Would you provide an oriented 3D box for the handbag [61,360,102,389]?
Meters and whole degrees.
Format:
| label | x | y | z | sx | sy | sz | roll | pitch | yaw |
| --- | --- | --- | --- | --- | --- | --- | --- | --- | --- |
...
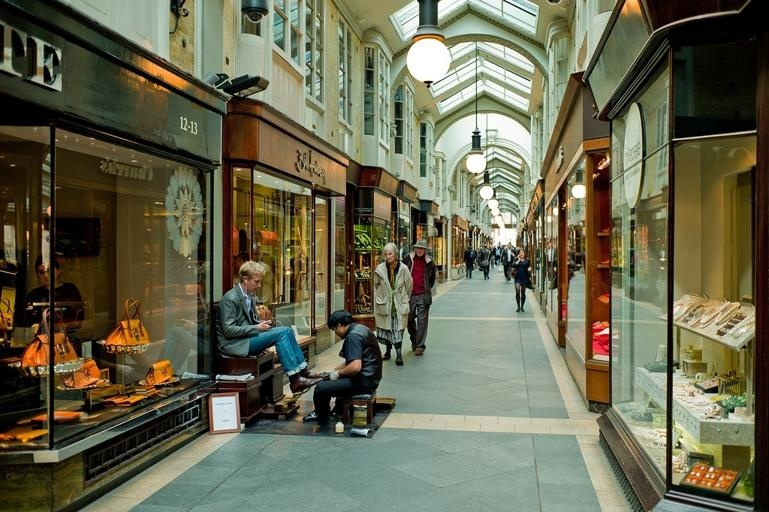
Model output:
| label | x | y | z | sx | sy | sz | roll | pitch | yaw |
| --- | --- | --- | --- | --- | --- | --- | --- | --- | --- |
| handbag | -2.845 | 1.135 | 6.206 | 0.155 | 0.154 | 0.372 | -6 | -4 | 8 |

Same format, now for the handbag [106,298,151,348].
| label | x | y | z | sx | sy | sz | roll | pitch | yaw |
| --- | --- | --- | --- | --- | --- | --- | --- | --- | --- |
| handbag | -2.796 | 0.740 | 7.068 | 0.192 | 0.520 | 0.451 | -5 | -8 | 24 |

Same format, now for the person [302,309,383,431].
| label | x | y | z | sx | sy | sz | roll | pitch | yaw |
| --- | --- | --- | --- | --- | --- | --- | --- | --- | --- |
| person | -0.440 | 1.238 | 7.385 | 0.804 | 1.240 | 0.377 | 0 | -3 | -7 |

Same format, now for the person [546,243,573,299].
| label | x | y | z | sx | sy | sz | roll | pitch | yaw |
| --- | --- | --- | --- | --- | --- | --- | --- | --- | --- |
| person | 3.125 | 0.252 | 11.400 | 0.344 | 1.093 | 0.363 | 3 | 21 | 26 |

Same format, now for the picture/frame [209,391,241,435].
| label | x | y | z | sx | sy | sz | roll | pitch | yaw |
| --- | --- | --- | --- | --- | --- | --- | --- | --- | --- |
| picture/frame | -1.747 | 1.732 | 7.119 | 0.362 | 0.514 | 0.039 | -3 | -25 | -13 |

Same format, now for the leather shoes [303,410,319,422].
| label | x | y | z | sx | sy | sz | roll | pitch | yaw |
| --- | --- | --- | --- | --- | --- | --- | --- | --- | --- |
| leather shoes | -0.846 | 1.825 | 7.443 | 0.214 | 0.151 | 0.073 | 6 | -15 | -17 |

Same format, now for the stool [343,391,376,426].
| label | x | y | z | sx | sy | sz | roll | pitch | yaw |
| --- | --- | --- | --- | --- | --- | --- | --- | --- | --- |
| stool | -0.271 | 1.681 | 7.230 | 0.283 | 0.347 | 0.307 | 1 | -2 | 9 |

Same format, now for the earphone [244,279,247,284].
| label | x | y | z | sx | sy | sz | roll | pitch | yaw |
| --- | --- | --- | --- | --- | --- | --- | --- | --- | --- |
| earphone | -1.620 | 0.286 | 7.625 | 0.032 | 0.027 | 0.034 | 1 | -1 | -2 |

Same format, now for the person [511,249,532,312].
| label | x | y | z | sx | sy | sz | roll | pitch | yaw |
| --- | --- | --- | --- | --- | --- | --- | --- | --- | --- |
| person | 3.896 | 0.661 | 18.485 | 0.458 | 1.705 | 2.059 | -1 | -3 | 12 |

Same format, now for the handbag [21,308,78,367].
| label | x | y | z | sx | sy | sz | roll | pitch | yaw |
| --- | --- | --- | --- | --- | --- | --- | --- | --- | --- |
| handbag | -3.035 | 0.724 | 5.861 | 0.380 | 0.526 | 0.565 | 0 | -3 | -16 |

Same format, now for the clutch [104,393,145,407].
| label | x | y | z | sx | sy | sz | roll | pitch | yaw |
| --- | --- | --- | --- | --- | --- | --- | --- | --- | --- |
| clutch | -2.531 | 1.416 | 6.407 | 0.197 | 0.088 | 0.391 | -1 | -3 | 8 |

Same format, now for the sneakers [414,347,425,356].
| label | x | y | z | sx | sy | sz | roll | pitch | yaw |
| --- | --- | --- | --- | --- | --- | --- | --- | --- | --- |
| sneakers | 0.599 | 1.598 | 11.024 | 0.152 | 0.134 | 0.184 | -1 | -3 | -5 |

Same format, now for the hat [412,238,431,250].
| label | x | y | z | sx | sy | sz | roll | pitch | yaw |
| --- | --- | --- | --- | --- | --- | --- | --- | --- | --- |
| hat | 0.671 | -0.209 | 11.339 | 0.193 | 0.094 | 0.195 | 7 | -5 | -25 |

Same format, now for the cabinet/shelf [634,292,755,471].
| label | x | y | z | sx | sy | sz | roll | pitch | yaw |
| --- | --- | --- | --- | --- | --- | --- | --- | --- | --- |
| cabinet/shelf | 2.521 | 1.008 | 5.219 | 0.404 | 1.356 | 1.402 | 2 | -2 | 3 |
